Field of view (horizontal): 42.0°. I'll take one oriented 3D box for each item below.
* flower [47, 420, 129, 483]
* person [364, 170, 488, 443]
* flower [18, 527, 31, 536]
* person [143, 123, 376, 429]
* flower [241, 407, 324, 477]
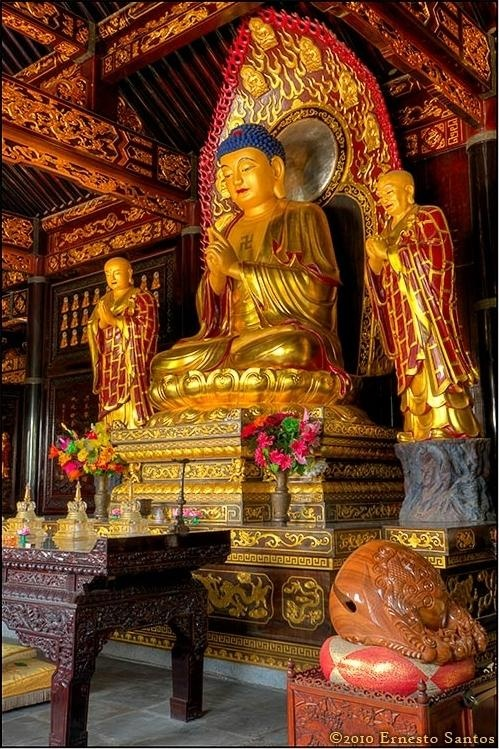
[{"bbox_3d":[-0.690,0.380,2.911,0.351,0.276,0.326,-5,2,23],"label":"flower"},{"bbox_3d":[0.782,-0.345,3.053,0.527,1.307,0.259,-5,-10,35],"label":"person"},{"bbox_3d":[-0.696,0.483,2.012,0.034,0.026,0.031,6,-15,-21],"label":"flower"},{"bbox_3d":[0.021,-0.640,3.673,1.070,1.766,0.700,-4,-10,32],"label":"person"},{"bbox_3d":[0.121,0.287,2.701,0.342,0.260,0.230,-1,-8,9],"label":"flower"}]
